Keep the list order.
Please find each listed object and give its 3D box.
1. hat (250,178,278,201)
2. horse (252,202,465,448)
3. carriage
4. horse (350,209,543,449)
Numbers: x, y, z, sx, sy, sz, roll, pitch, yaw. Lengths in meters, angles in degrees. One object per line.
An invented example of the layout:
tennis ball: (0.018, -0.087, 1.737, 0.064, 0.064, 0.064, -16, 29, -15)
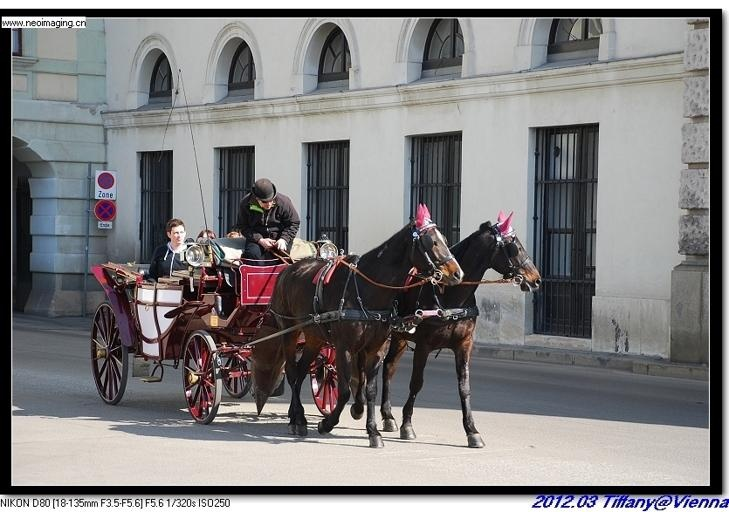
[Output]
hat: (-1.489, -0.959, 19.848, 0.349, 0.299, 0.341, 0, 10, -4)
horse: (-0.264, 1.062, 18.684, 1.040, 3.014, 4.031, 5, -6, -43)
carriage: (-1.578, 1.090, 20.450, 7.874, 3.490, 2.900, -4, -3, 43)
horse: (0.999, 1.163, 19.158, 1.020, 3.097, 3.813, 5, -6, -31)
